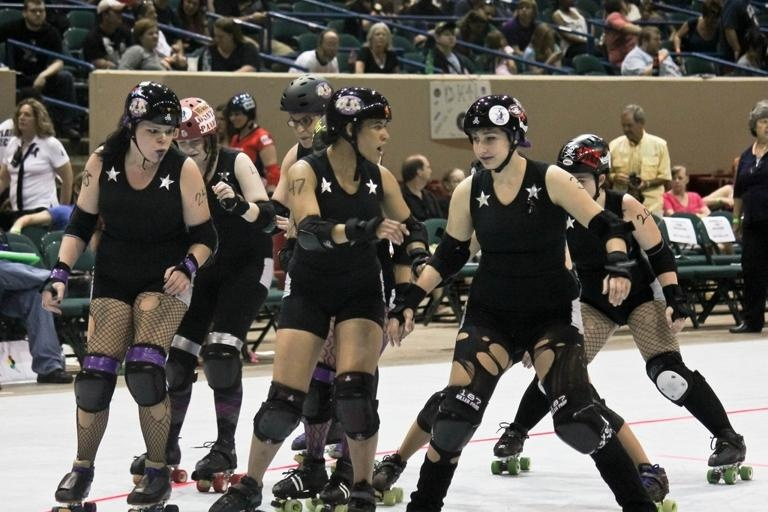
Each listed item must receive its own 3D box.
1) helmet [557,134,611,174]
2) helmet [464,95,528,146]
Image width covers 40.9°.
[{"bbox_3d":[1.482,-0.764,7.514,0.353,0.286,0.255,-15,25,-38],"label":"helmet"},{"bbox_3d":[0.743,-0.903,6.713,0.441,0.353,0.252,0,-3,1],"label":"helmet"}]
